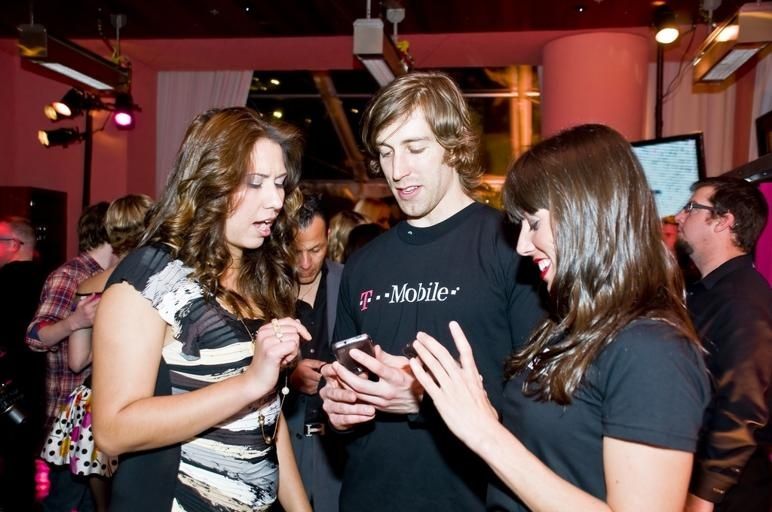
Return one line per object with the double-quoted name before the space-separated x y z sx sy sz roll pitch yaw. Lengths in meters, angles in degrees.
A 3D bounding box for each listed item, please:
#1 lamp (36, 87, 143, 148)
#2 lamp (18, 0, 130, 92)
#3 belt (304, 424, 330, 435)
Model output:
"lamp" -3.490 -1.680 6.875 1.073 0.412 0.881 -17 -2 -17
"lamp" -3.071 -1.956 5.815 0.329 0.330 1.211 1 -2 15
"belt" -0.440 1.094 3.654 0.090 0.046 0.069 3 9 10
